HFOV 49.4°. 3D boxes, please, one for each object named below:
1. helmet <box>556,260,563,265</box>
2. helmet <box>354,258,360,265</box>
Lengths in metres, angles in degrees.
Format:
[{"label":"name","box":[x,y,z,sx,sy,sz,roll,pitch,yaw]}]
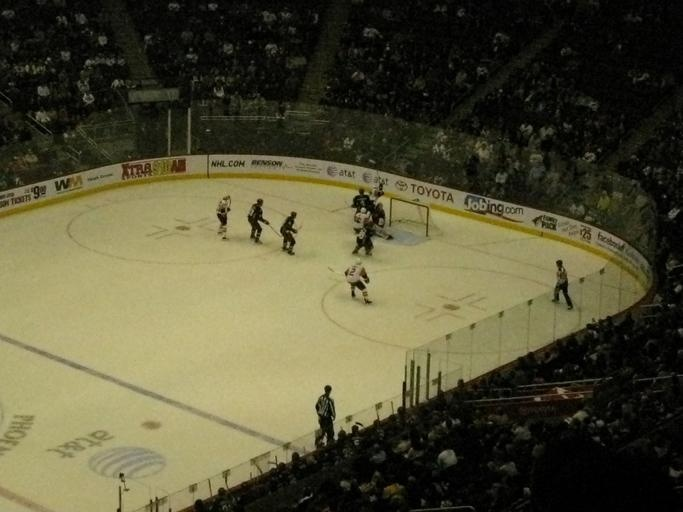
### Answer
[{"label":"helmet","box":[7.187,0.190,24.556,0.189,0.225,0.174,-6,96,-50]},{"label":"helmet","box":[0.493,0.178,24.546,0.176,0.224,0.210,0,89,5]}]
